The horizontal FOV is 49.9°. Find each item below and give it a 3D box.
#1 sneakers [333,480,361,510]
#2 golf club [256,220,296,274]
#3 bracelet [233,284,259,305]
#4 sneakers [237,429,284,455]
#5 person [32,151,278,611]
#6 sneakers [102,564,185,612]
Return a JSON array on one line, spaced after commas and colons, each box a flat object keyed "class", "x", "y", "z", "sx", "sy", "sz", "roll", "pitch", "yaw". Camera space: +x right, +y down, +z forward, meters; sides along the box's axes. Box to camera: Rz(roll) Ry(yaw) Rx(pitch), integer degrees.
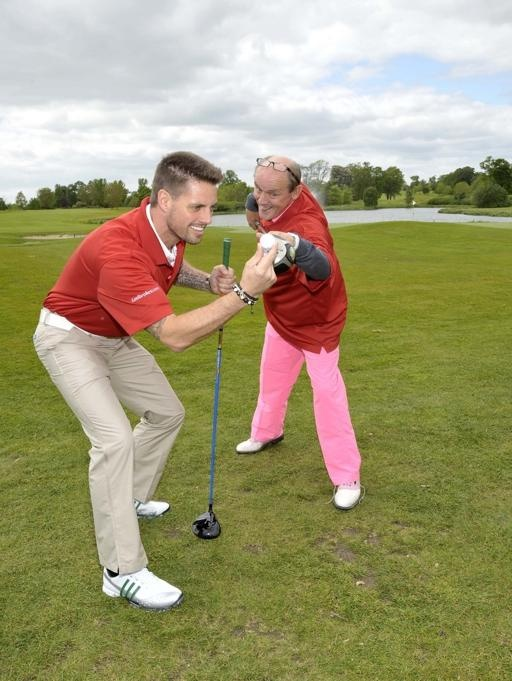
[{"class": "sneakers", "x": 0.620, "y": 1.055, "z": 3.755, "sx": 0.154, "sy": 0.120, "sz": 0.218, "roll": 5, "pitch": 15, "yaw": 22}, {"class": "golf club", "x": 0.088, "y": -0.437, "z": 2.793, "sx": 0.090, "sy": 0.177, "sz": 0.247, "roll": -32, "pitch": 3, "yaw": 28}, {"class": "bracelet", "x": -0.053, "y": -0.213, "z": 2.576, "sx": 0.110, "sy": 0.105, "sz": 0.142, "roll": -1, "pitch": 14, "yaw": -1}, {"class": "sneakers", "x": 0.055, "y": 0.842, "z": 4.609, "sx": 0.398, "sy": 0.174, "sz": 0.134, "roll": -5, "pitch": 16, "yaw": -25}, {"class": "person", "x": -0.588, "y": 0.166, "z": 2.897, "sx": 0.781, "sy": 2.207, "sz": 1.134, "roll": -13, "pitch": 19, "yaw": -39}, {"class": "sneakers", "x": -0.600, "y": 1.234, "z": 2.808, "sx": 0.451, "sy": 0.189, "sz": 0.168, "roll": 2, "pitch": 12, "yaw": 28}]
